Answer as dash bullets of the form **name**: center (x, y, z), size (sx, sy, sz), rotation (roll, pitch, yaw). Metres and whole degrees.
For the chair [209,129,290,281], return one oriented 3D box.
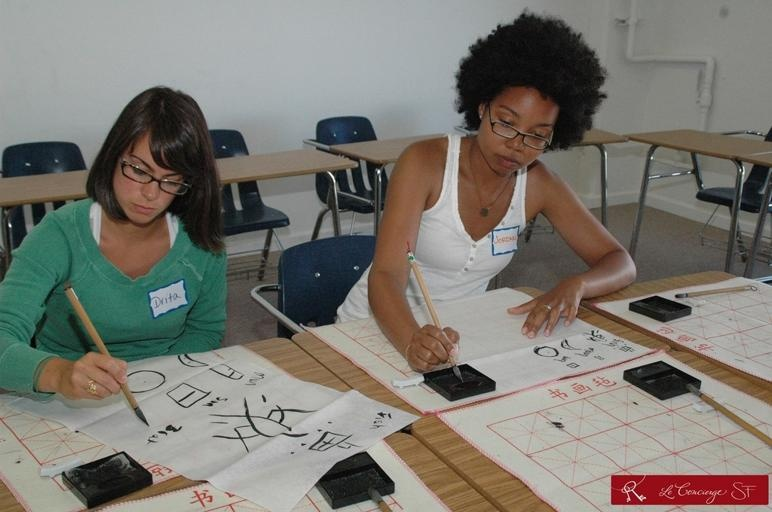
- **chair**: center (-0.968, -0.314, 3.486), size (0.638, 0.871, 0.559), rotation (27, 27, 37)

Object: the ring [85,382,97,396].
- **ring**: center (-0.579, 0.264, 1.067), size (0.020, 0.021, 0.006), rotation (14, -13, -7)

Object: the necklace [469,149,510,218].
- **necklace**: center (0.310, -0.235, 1.666), size (0.135, 0.211, 0.055), rotation (-10, 21, -2)

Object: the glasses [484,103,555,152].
- **glasses**: center (0.375, -0.365, 1.547), size (0.179, 0.125, 0.104), rotation (3, 21, 10)

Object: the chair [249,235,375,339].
- **chair**: center (-0.239, 0.069, 1.889), size (0.414, 0.510, 0.372), rotation (-1, 15, -19)
